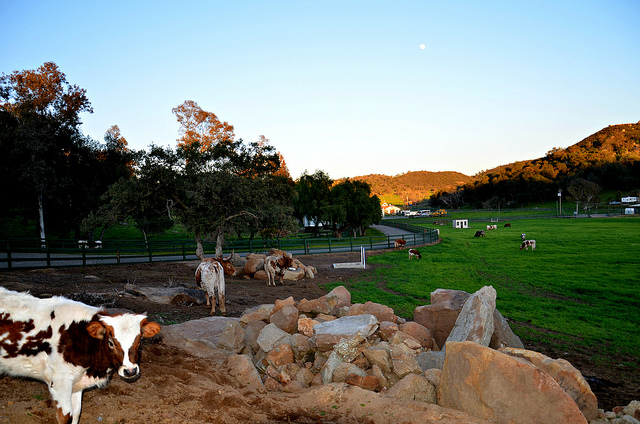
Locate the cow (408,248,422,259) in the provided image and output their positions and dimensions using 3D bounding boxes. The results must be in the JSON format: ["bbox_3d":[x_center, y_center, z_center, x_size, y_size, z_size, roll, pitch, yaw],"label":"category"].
[{"bbox_3d":[6.942,3.114,30.374,0.943,0.685,0.823,-1,-3,-5],"label":"cow"}]

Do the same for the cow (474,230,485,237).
[{"bbox_3d":[19.158,2.669,49.629,1.888,0.901,0.548,0,2,-44],"label":"cow"}]

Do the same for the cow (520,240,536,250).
[{"bbox_3d":[17.394,2.754,34.558,1.065,0.677,0.790,-3,-3,36],"label":"cow"}]

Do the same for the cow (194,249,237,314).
[{"bbox_3d":[-4.353,2.872,16.925,1.324,2.334,3.223,-3,-2,-19],"label":"cow"}]

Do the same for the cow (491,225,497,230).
[{"bbox_3d":[25.433,2.295,60.538,0.610,0.631,0.166,-2,-2,9],"label":"cow"}]

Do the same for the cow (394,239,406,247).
[{"bbox_3d":[7.030,2.734,36.416,0.805,0.611,1.322,-2,-3,13],"label":"cow"}]

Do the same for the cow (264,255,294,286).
[{"bbox_3d":[-2.148,3.060,21.848,0.854,1.525,2.136,-6,-5,34],"label":"cow"}]

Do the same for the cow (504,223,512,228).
[{"bbox_3d":[29.257,2.086,63.890,1.401,0.772,0.430,-6,8,-11],"label":"cow"}]

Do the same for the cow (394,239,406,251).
[{"bbox_3d":[6.992,2.840,36.308,0.923,0.833,2.646,-2,-3,10],"label":"cow"}]
